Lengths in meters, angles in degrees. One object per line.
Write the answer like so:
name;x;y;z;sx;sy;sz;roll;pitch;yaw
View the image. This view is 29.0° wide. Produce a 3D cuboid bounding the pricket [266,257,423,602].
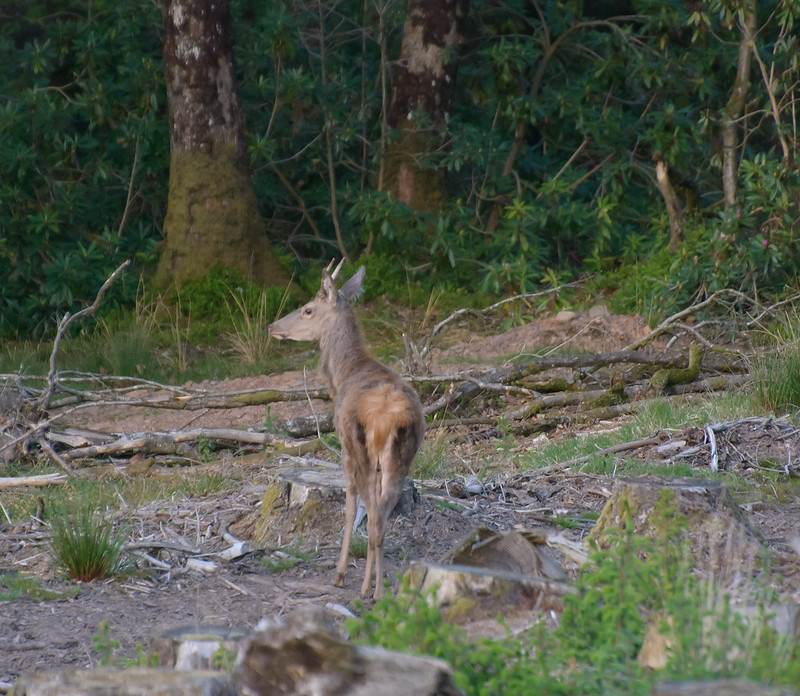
pricket;-0.354;0.707;14.277;0.817;2.507;2.041;-4;16;-19
